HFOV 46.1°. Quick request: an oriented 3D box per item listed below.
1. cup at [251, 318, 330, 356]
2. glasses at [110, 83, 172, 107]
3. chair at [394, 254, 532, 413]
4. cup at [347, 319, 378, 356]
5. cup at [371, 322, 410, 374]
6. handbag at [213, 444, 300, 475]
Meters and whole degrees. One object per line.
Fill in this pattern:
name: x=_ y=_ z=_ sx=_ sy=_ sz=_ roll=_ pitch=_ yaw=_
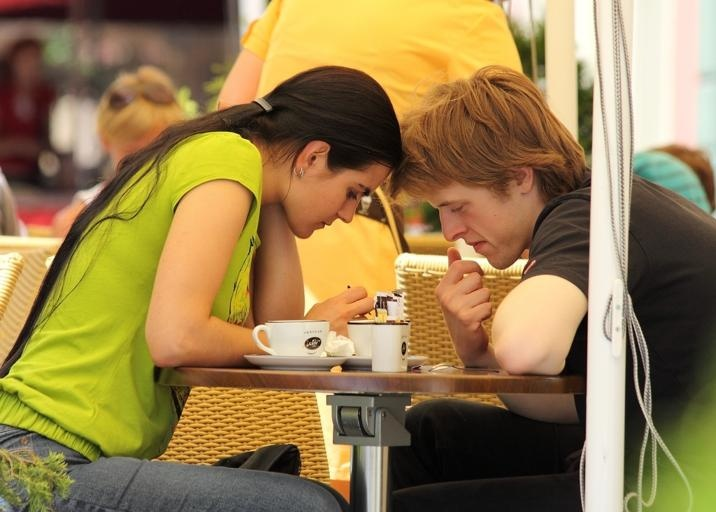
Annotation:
cup: x=-0.168 y=0.201 z=2.076 sx=0.129 sy=0.060 sz=0.106 roll=-3 pitch=-7 yaw=4
glasses: x=-1.198 y=-0.889 z=4.608 sx=0.321 sy=0.094 sz=0.144 roll=1 pitch=51 yaw=-15
chair: x=0.384 y=0.304 z=3.250 sx=0.570 sy=0.581 sz=0.493 roll=1 pitch=-6 yaw=0
cup: x=0.007 y=0.202 z=2.099 sx=0.079 sy=0.084 sz=0.078 roll=0 pitch=2 yaw=0
cup: x=0.072 y=0.223 z=1.961 sx=0.091 sy=0.139 sz=0.180 roll=2 pitch=18 yaw=3
handbag: x=-0.268 y=0.591 z=2.446 sx=0.161 sy=0.059 sz=0.164 roll=-3 pitch=-5 yaw=38
